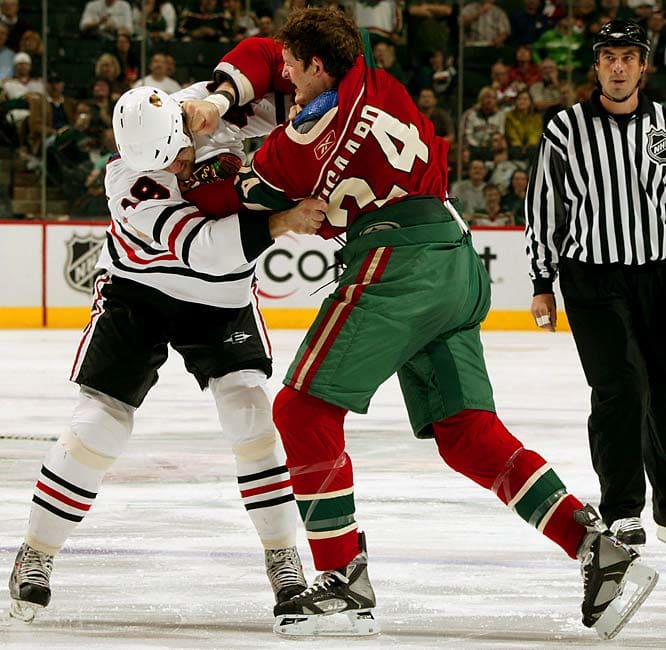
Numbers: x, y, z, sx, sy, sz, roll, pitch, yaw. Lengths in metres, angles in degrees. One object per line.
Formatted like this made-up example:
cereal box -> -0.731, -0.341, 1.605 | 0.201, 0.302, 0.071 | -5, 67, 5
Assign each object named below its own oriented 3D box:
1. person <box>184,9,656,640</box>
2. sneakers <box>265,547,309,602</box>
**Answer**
person -> 0.183, -0.009, 2.930 | 1.108, 1.713, 0.524 | -1, 9, -8
sneakers -> -0.151, 0.719, 3.125 | 0.075, 0.090, 0.210 | -33, 16, 3
